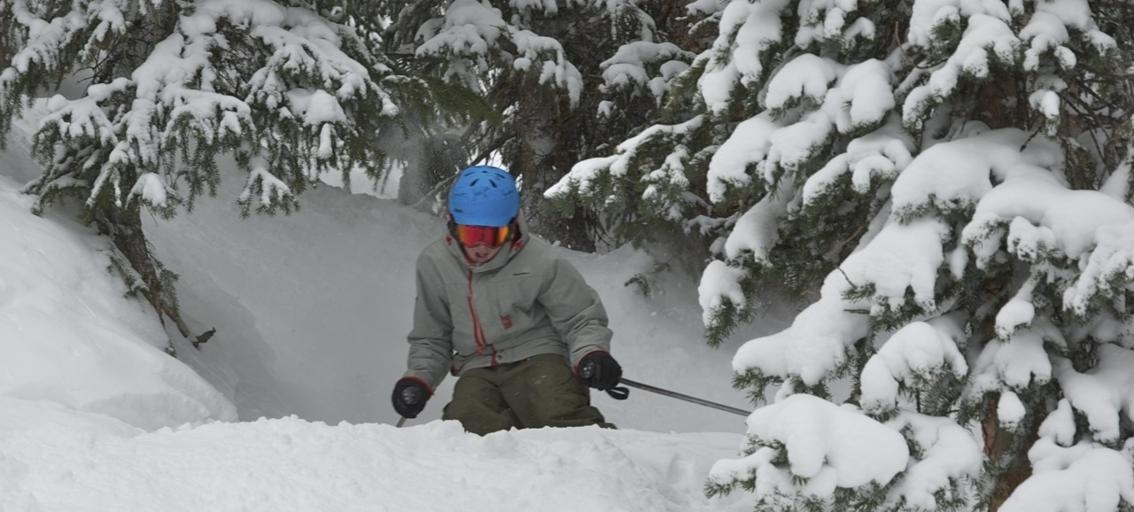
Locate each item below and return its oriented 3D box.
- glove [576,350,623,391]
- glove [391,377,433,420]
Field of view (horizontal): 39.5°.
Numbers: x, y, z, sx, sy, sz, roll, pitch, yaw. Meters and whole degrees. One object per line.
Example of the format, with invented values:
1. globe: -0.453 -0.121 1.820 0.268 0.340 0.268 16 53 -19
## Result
1. glove: 0.334 1.253 17.956 0.521 0.435 0.299 4 24 -5
2. glove: -1.802 1.598 18.155 0.452 0.496 0.358 4 24 -5
